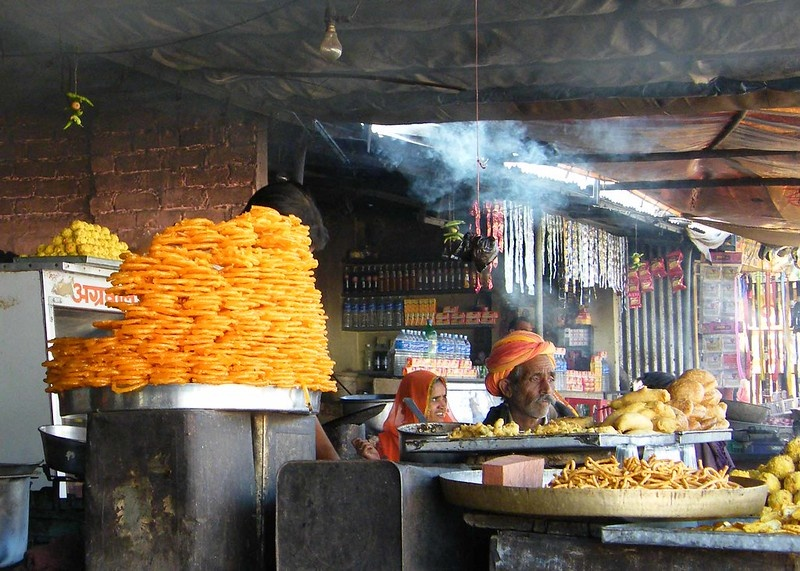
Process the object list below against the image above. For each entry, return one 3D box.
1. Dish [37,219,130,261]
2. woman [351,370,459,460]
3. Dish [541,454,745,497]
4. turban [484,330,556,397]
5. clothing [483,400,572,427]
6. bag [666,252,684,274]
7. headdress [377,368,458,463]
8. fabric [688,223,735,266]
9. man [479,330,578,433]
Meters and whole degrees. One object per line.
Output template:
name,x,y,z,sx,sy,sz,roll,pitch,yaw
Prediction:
Dish,-1.970,-0.271,7.456,0.557,0.183,0.509,2,8,12
woman,0.067,0.798,7.444,0.481,0.567,0.997,-1,-8,2
Dish,1.045,0.795,5.060,0.793,0.136,0.319,-2,-8,7
turban,0.733,0.468,7.305,0.461,0.373,0.433,-8,11,-3
clothing,0.776,0.790,7.333,0.350,0.121,0.270,0,-7,1
bag,3.082,-0.254,13.192,0.090,0.243,0.192,2,-5,-22
headdress,0.059,0.800,7.642,0.400,0.595,0.620,15,-21,0
fabric,3.239,-0.484,12.507,0.540,0.194,0.478,12,-4,-14
man,0.836,0.557,7.399,0.705,0.687,0.583,-1,-4,-29
